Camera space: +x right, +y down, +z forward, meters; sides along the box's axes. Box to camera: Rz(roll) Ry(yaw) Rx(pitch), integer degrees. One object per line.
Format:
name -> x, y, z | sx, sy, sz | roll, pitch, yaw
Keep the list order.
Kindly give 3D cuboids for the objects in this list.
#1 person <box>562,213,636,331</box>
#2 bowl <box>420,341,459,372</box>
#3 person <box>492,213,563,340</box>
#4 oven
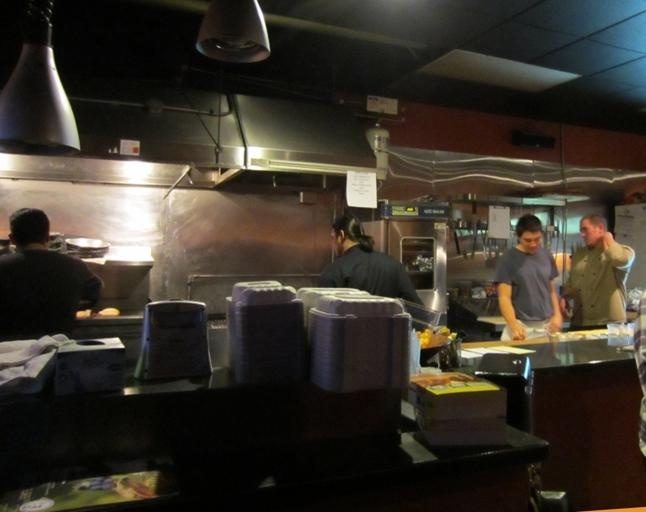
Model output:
person -> 2.620, 0.175, 5.381 | 0.364, 1.135, 0.685 | 0, 2, -34
bowl -> 0.612, 0.520, 2.943 | 0.306, 0.145, 0.113 | 0, 2, -23
person -> 1.726, 0.167, 4.560 | 0.592, 1.010, 0.611 | 1, 2, -7
oven -> 0.815, 0.039, 5.099 | 0.689, 1.035, 0.681 | -2, 6, -21
